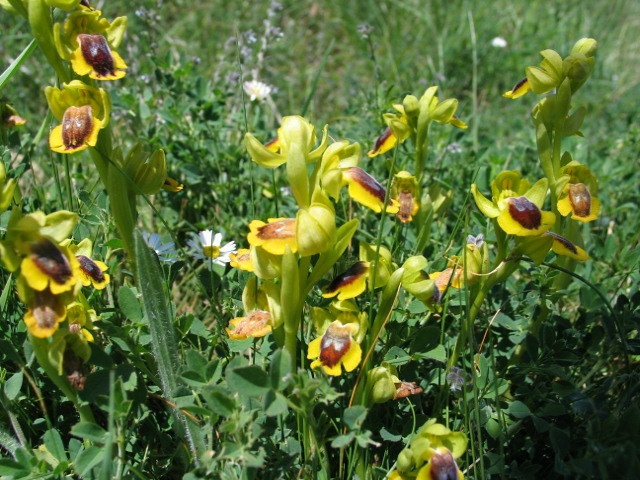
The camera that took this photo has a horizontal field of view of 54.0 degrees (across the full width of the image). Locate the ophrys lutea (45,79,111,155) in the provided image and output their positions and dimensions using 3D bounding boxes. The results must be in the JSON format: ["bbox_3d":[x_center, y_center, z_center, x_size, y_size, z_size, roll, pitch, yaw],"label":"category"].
[{"bbox_3d":[-0.815,-0.412,2.132,0.172,0.288,0.119,2,-20,3],"label":"ophrys lutea"}]

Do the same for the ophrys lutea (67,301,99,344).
[{"bbox_3d":[-0.877,0.275,2.254,0.099,0.040,0.104,3,29,-7],"label":"ophrys lutea"}]

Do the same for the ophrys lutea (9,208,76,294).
[{"bbox_3d":[-0.853,0.036,1.919,0.207,0.224,0.175,0,21,-15],"label":"ophrys lutea"}]

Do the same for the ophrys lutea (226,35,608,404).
[{"bbox_3d":[0.335,-0.097,2.285,1.327,1.309,0.674,1,20,-13],"label":"ophrys lutea"}]
